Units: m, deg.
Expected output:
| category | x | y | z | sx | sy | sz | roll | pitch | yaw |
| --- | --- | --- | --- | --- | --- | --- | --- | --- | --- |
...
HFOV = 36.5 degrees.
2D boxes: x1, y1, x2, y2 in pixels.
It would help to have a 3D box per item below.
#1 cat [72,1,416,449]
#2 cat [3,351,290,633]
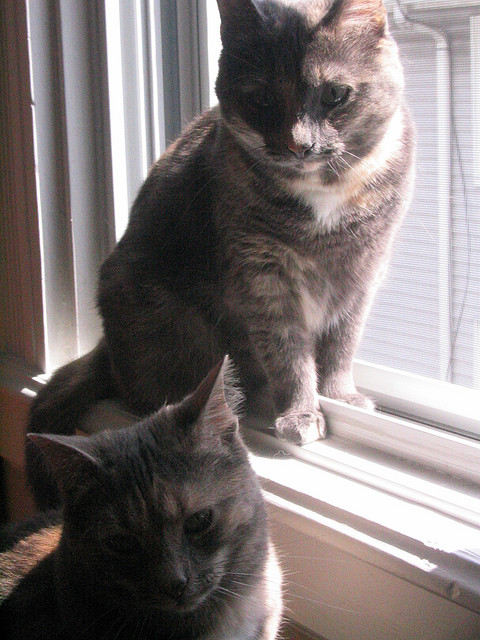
| category | x | y | z | sx | sy | sz | roll | pitch | yaw |
| --- | --- | --- | --- | --- | --- | --- | --- | --- | --- |
| cat | 0.028 | -0.218 | 1.410 | 0.690 | 0.839 | 0.560 | 3 | 15 | 31 |
| cat | -0.135 | 0.240 | 0.971 | 0.270 | 0.276 | 0.400 | -15 | -7 | -25 |
